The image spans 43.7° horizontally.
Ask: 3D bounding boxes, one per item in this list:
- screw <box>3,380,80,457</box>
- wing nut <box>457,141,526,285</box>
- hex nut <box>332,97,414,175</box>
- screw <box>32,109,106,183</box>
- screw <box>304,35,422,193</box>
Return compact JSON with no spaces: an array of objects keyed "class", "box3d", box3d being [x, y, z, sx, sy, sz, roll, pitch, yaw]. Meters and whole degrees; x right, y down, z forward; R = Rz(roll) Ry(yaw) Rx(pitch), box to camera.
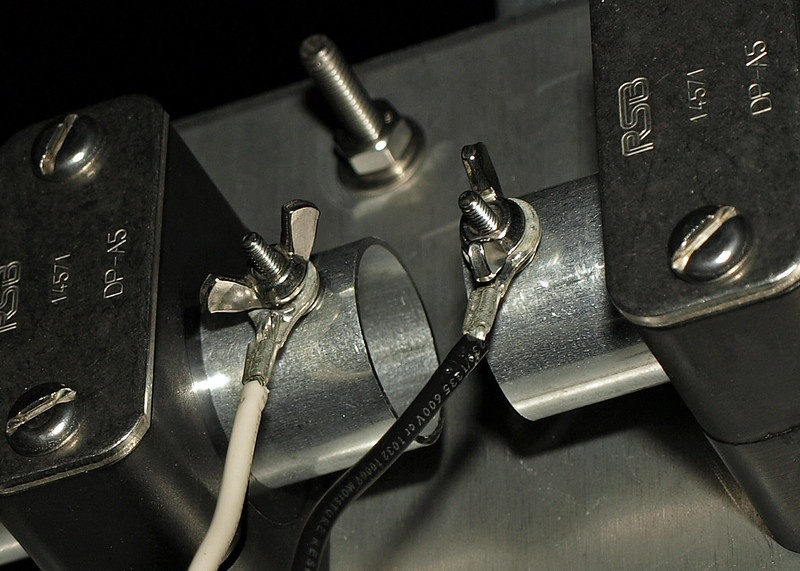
[{"class":"screw","box3d":[-0.232,0.088,0.658,0.044,0.047,0.040,-1,26,-2]},{"class":"wing nut","box3d":[0.058,-0.042,0.692,0.043,0.045,0.097,-12,61,22]},{"class":"hex nut","box3d":[-0.020,-0.121,0.913,0.085,0.035,0.089,-6,39,40]},{"class":"screw","box3d":[-0.251,-0.102,0.749,0.050,0.014,0.052,-18,56,15]},{"class":"screw","box3d":[-0.038,-0.156,0.873,0.075,0.139,0.079,-14,43,22]}]
